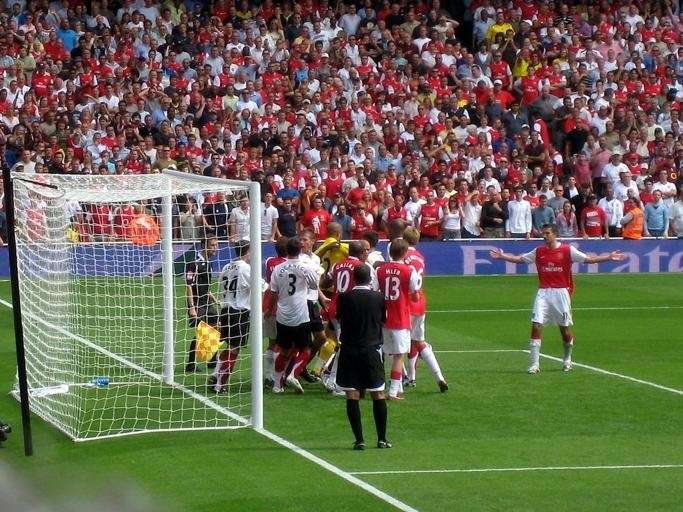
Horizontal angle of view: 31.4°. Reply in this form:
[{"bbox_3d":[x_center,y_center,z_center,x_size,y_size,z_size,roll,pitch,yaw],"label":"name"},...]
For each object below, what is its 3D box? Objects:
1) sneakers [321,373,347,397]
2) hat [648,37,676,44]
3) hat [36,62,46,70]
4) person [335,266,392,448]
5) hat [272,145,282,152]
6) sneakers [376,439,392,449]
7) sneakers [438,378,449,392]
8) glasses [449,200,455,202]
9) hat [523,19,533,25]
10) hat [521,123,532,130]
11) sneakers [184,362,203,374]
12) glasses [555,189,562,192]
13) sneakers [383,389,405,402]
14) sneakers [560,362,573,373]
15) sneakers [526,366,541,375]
[{"bbox_3d":[-0.143,2.127,19.704,0.213,0.256,0.621,1,4,-43],"label":"sneakers"},{"bbox_3d":[9.698,-6.511,36.940,0.409,0.096,0.412,3,-3,-33],"label":"hat"},{"bbox_3d":[-7.690,-4.834,31.329,0.239,0.232,0.184,0,12,-8],"label":"hat"},{"bbox_3d":[0.334,1.460,17.602,0.825,2.581,0.757,1,13,-2],"label":"person"},{"bbox_3d":[-1.575,-2.668,30.221,0.184,0.126,0.240,1,10,-40],"label":"hat"},{"bbox_3d":[0.612,2.720,17.624,0.198,0.100,0.080,2,17,-9],"label":"sneakers"},{"bbox_3d":[1.657,2.119,20.002,0.207,0.169,0.154,-1,9,-8],"label":"sneakers"},{"bbox_3d":[2.685,-1.350,29.828,0.068,0.050,0.071,-3,-7,31],"label":"glasses"},{"bbox_3d":[5.671,-7.147,37.185,0.231,0.108,0.339,29,23,9],"label":"hat"},{"bbox_3d":[4.937,-3.448,32.676,0.220,0.195,0.200,-3,20,-15],"label":"hat"},{"bbox_3d":[-2.495,1.901,20.819,0.375,0.244,0.132,-2,7,-7],"label":"sneakers"},{"bbox_3d":[5.361,-1.629,30.226,0.113,0.081,0.124,0,36,3],"label":"glasses"},{"bbox_3d":[0.844,2.260,19.509,0.345,0.135,0.116,3,-4,-9],"label":"sneakers"},{"bbox_3d":[3.950,1.951,21.361,0.089,0.156,0.247,-15,-18,41],"label":"sneakers"},{"bbox_3d":[3.308,1.980,21.108,0.242,0.103,0.093,7,-9,-37],"label":"sneakers"}]
